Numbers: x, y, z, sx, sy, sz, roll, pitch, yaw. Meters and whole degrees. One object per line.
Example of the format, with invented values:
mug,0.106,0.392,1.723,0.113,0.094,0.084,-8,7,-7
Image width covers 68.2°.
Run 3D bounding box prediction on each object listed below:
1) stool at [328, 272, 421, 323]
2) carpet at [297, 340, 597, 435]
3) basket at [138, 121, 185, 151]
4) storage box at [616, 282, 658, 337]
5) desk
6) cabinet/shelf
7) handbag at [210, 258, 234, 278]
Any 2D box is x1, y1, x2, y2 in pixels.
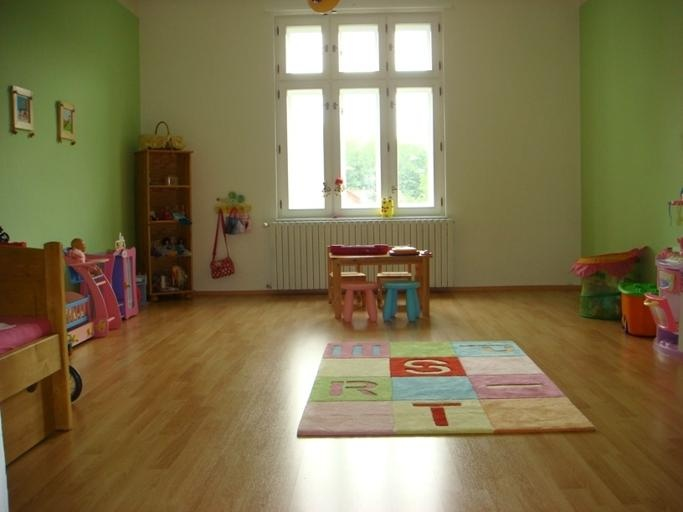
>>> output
stool,0.350,0.401,5.422,0.866,0.453,0.955,-4,8,-1
carpet,0.595,0.841,3.473,1.637,0.111,1.618,-4,9,1
basket,-2.266,-1.532,6.396,0.528,0.410,0.583,-6,9,-18
storage box,2.738,0.470,4.592,0.328,0.423,0.552,-3,7,22
desk,0.400,0.185,5.348,0.767,0.553,0.823,0,3,-2
cabinet/shelf,-2.222,-0.584,6.350,0.418,1.369,0.360,0,0,-35
handbag,-1.571,0.156,6.609,0.199,0.210,0.082,-11,-3,-7
